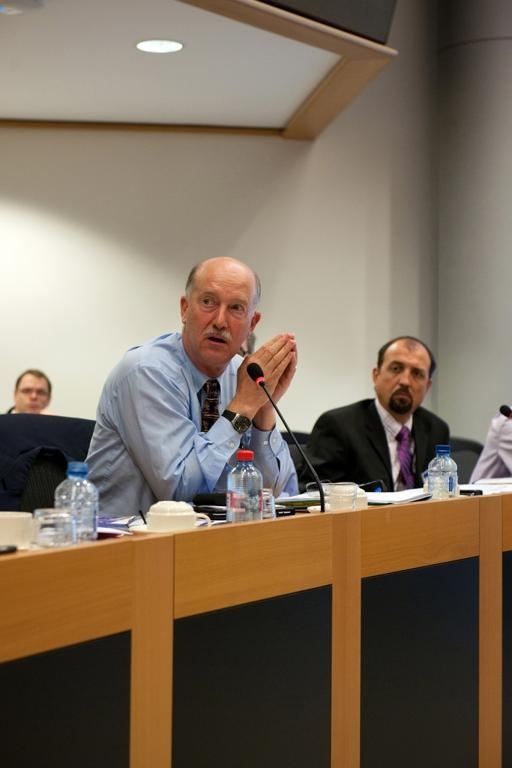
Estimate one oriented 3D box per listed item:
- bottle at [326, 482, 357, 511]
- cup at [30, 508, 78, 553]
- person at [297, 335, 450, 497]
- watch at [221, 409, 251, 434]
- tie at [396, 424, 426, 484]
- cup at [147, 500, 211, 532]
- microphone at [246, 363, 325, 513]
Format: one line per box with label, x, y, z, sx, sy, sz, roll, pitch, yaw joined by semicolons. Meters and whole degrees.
bottle;0.155;0.192;1.036;0.048;0.040;0.040;-4;-6;27
cup;-0.223;0.158;0.672;0.048;0.042;0.048;0;-5;0
person;0.470;0.110;2.522;0.446;0.998;0.344;9;-27;-4
watch;-0.035;0.085;1.397;0.062;0.045;0.068;37;-4;-16
tie;0.584;0.254;2.202;0.112;0.163;0.041;-5;-24;0
cup;-0.101;0.166;0.812;0.068;0.044;0.051;1;-5;3
microphone;0.104;0.156;1.810;0.046;0.102;0.693;2;43;-31
